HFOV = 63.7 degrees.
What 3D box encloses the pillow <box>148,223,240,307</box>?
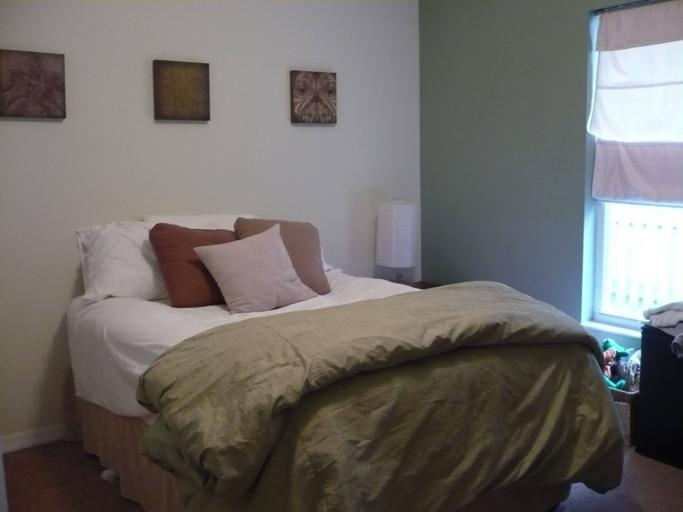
[{"bbox_3d":[-0.812,0.067,2.989,0.363,0.340,0.187,-13,16,-43],"label":"pillow"}]
